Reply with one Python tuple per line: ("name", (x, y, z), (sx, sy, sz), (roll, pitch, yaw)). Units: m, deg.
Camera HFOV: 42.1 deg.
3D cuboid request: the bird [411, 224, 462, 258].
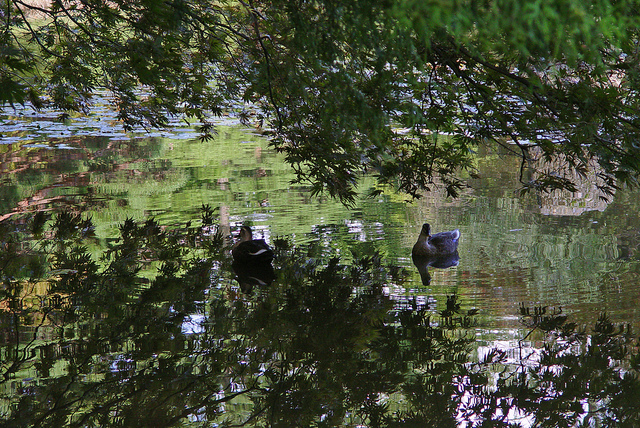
("bird", (1.934, 0.459, 13.719), (0.833, 0.567, 0.439), (-16, 17, -38))
